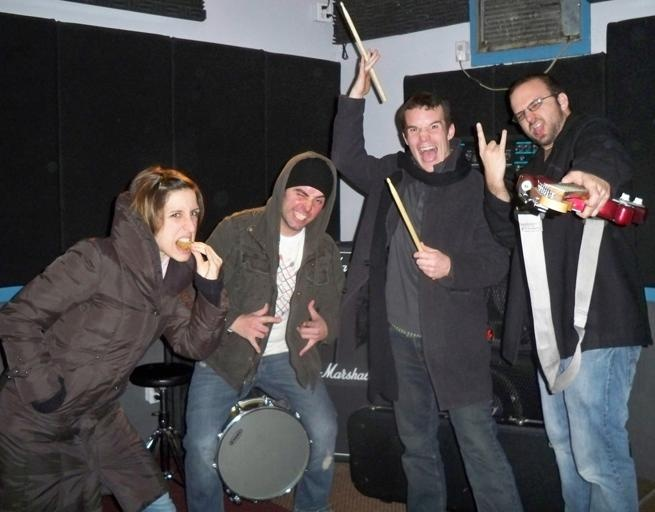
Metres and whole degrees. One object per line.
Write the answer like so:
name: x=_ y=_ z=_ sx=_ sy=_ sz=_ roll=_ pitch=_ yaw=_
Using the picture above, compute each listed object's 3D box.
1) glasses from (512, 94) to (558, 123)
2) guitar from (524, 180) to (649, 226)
glasses: x=0.971 y=-0.725 z=2.756 sx=0.137 sy=0.043 sz=0.137 roll=-39 pitch=5 yaw=-26
guitar: x=0.936 y=-0.194 z=2.122 sx=0.352 sy=0.096 sz=0.215 roll=3 pitch=10 yaw=-15
